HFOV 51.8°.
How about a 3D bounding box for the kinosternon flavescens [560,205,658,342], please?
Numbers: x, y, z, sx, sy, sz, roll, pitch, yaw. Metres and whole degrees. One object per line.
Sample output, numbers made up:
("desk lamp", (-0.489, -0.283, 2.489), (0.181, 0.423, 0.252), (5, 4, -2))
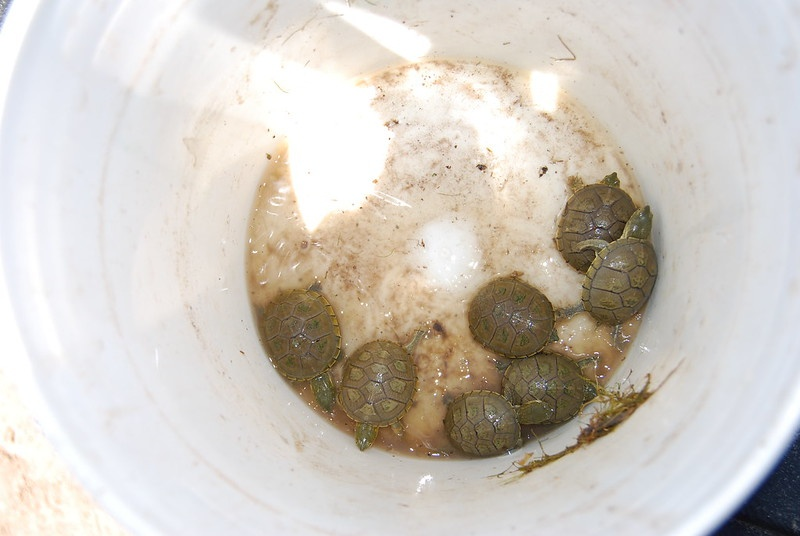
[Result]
("kinosternon flavescens", (0.969, 0.016, 3.813), (0.311, 0.642, 0.425), (-2, -3, -29))

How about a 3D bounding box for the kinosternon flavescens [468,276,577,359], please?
("kinosternon flavescens", (0.503, 0.238, 3.905), (0.428, 0.165, 0.445), (12, 66, 16))

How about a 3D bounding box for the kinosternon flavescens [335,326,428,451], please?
("kinosternon flavescens", (-0.113, 0.559, 3.824), (0.303, 0.152, 0.493), (31, 74, 2))

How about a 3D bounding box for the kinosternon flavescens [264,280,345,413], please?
("kinosternon flavescens", (-0.454, 0.340, 3.929), (0.293, 0.629, 0.317), (2, -1, -40))
